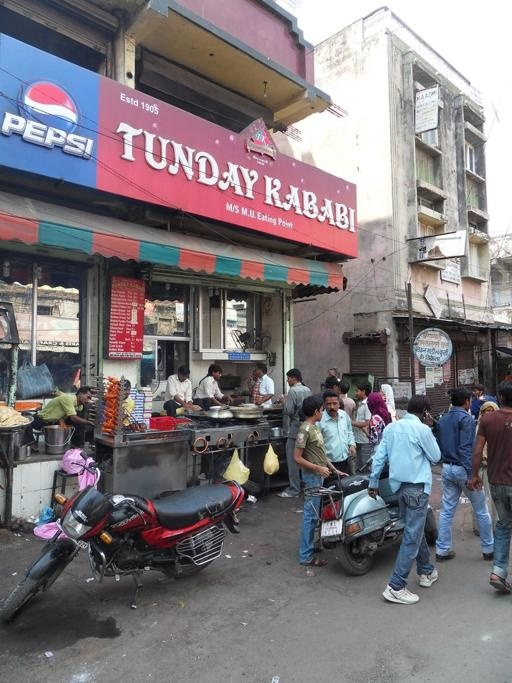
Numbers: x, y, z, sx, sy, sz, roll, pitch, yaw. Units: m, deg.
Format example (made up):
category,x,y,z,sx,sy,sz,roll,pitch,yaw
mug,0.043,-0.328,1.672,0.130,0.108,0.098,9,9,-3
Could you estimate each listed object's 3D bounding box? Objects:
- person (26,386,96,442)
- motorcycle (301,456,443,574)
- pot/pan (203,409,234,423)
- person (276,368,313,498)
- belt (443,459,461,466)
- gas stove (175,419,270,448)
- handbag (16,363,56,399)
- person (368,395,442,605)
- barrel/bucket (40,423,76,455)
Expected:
category,x,y,z,sx,sy,sz,roll,pitch,yaw
person,-2.142,0.912,6.713,0.757,0.827,0.391,13,-4,5
motorcycle,0.985,1.601,5.346,0.545,0.828,1.404,-14,-14,40
pot/pan,-0.430,0.844,6.687,0.202,0.110,0.203,-2,-2,26
person,0.444,1.169,7.524,0.556,1.450,0.575,0,0,-34
belt,1.755,1.073,5.228,0.088,0.022,0.088,2,4,4
gas stove,-0.387,1.025,6.756,0.992,0.315,0.734,2,-3,-43
handbag,-2.704,0.495,7.178,0.159,0.410,0.420,-20,-15,28
person,1.143,1.195,4.554,0.532,1.500,0.708,1,3,17
barrel/bucket,-2.138,1.061,6.381,0.297,0.261,0.296,1,-12,0
